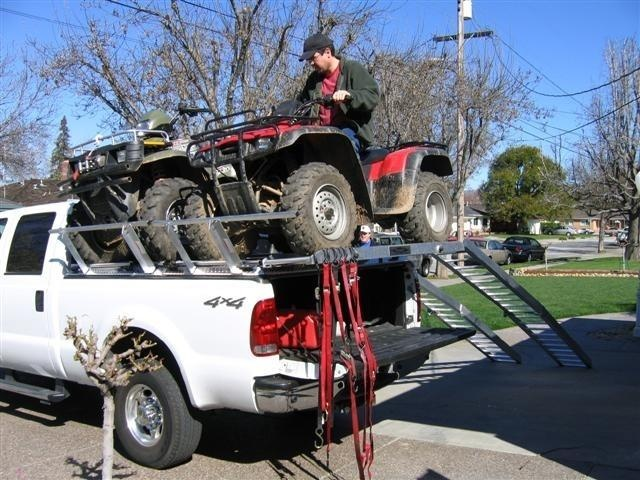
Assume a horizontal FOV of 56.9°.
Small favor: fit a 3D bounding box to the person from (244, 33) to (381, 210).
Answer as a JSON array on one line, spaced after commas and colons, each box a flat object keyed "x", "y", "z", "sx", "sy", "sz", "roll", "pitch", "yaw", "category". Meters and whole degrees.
[{"x": 0.084, "y": -1.467, "z": 7.257, "sx": 1.196, "sy": 2.014, "sz": 1.125, "roll": 1, "pitch": 6, "yaw": 25, "category": "person"}]

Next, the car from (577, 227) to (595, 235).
[{"x": 43.549, "y": -1.636, "z": 96.517, "sx": 1.594, "sy": 0.883, "sz": 2.657, "roll": -1, "pitch": 3, "yaw": -6, "category": "car"}]

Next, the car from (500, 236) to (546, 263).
[{"x": 12.291, "y": 0.461, "z": 34.926, "sx": 1.347, "sy": 0.961, "sz": 2.966, "roll": 0, "pitch": 5, "yaw": 40, "category": "car"}]

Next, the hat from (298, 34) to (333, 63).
[{"x": -0.031, "y": -2.344, "z": 7.084, "sx": 0.416, "sy": 0.343, "sz": 0.348, "roll": -3, "pitch": 6, "yaw": -1, "category": "hat"}]

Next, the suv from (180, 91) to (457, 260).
[{"x": 0.086, "y": -0.578, "z": 7.124, "sx": 1.662, "sy": 1.892, "sz": 2.933, "roll": -8, "pitch": -7, "yaw": 39, "category": "suv"}]

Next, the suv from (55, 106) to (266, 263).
[{"x": -2.099, "y": -0.524, "z": 6.948, "sx": 1.457, "sy": 1.696, "sz": 2.782, "roll": -14, "pitch": -7, "yaw": 33, "category": "suv"}]
